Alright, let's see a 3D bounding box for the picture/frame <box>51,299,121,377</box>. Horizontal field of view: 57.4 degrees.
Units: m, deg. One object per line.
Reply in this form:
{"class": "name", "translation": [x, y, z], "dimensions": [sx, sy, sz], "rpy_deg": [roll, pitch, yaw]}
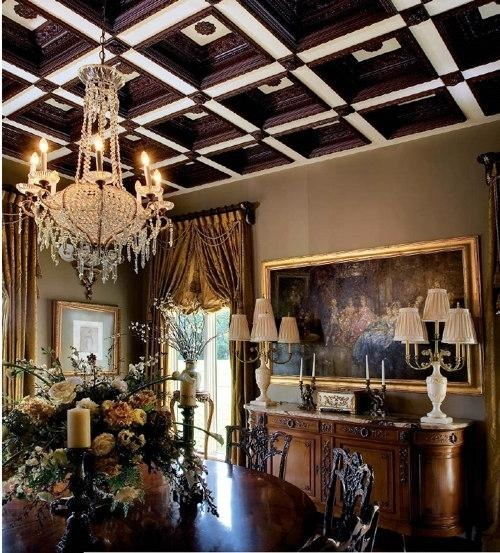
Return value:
{"class": "picture/frame", "translation": [-1.883, 0.682, 5.161], "dimensions": [0.097, 0.876, 0.986], "rpy_deg": [-10, -13, 37]}

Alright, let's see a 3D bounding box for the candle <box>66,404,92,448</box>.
{"class": "candle", "translation": [-0.578, 0.519, 1.549], "dimensions": [0.076, 0.132, 0.087], "rpy_deg": [3, -14, -5]}

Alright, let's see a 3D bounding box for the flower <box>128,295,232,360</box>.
{"class": "flower", "translation": [-0.754, 0.585, 5.256], "dimensions": [1.374, 0.724, 0.888], "rpy_deg": [-4, -12, 32]}

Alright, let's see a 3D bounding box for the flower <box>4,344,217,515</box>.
{"class": "flower", "translation": [-0.589, 0.621, 1.998], "dimensions": [0.868, 0.583, 0.832], "rpy_deg": [-1, 1, 7]}
